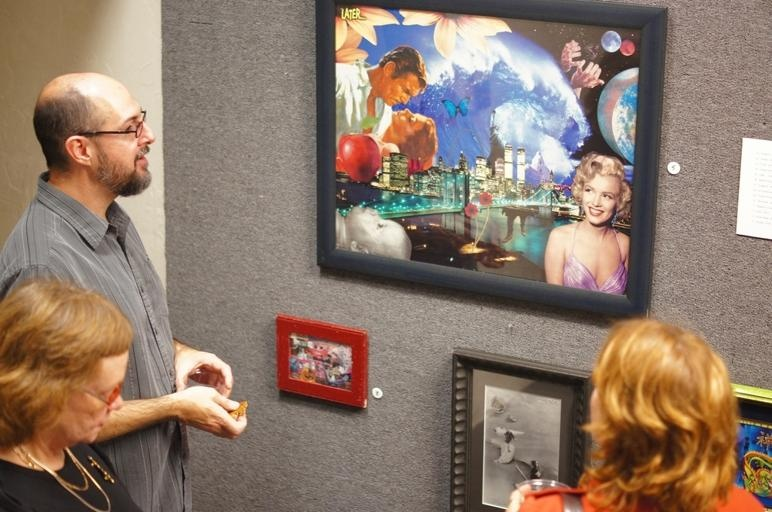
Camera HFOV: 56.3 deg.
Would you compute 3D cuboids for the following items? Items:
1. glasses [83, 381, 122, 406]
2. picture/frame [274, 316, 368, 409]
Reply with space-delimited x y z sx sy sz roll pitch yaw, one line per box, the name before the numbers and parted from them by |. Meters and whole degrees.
glasses | -0.608 0.298 1.539 0.049 0.021 0.050 40 22 5
picture/frame | -0.199 0.332 2.329 0.315 0.249 0.041 7 15 20
